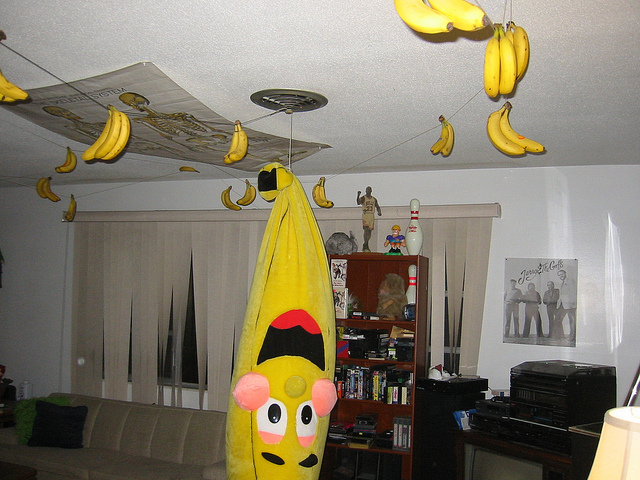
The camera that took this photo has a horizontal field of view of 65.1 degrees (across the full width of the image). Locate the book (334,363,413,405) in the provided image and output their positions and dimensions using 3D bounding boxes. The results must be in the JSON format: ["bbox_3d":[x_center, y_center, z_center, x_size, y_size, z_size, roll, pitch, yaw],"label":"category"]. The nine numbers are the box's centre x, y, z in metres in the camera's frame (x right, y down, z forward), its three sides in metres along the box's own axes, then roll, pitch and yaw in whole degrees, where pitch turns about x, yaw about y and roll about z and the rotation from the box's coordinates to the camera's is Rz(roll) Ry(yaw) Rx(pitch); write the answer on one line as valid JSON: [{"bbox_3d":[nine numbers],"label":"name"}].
[{"bbox_3d":[0.444,1.197,4.177,0.627,0.267,0.199,2,-5,13],"label":"book"}]

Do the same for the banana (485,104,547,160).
[{"bbox_3d":[0.857,-0.471,2.281,0.158,0.296,0.098,-31,-37,14],"label":"banana"}]

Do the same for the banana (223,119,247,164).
[{"bbox_3d":[-0.456,-0.519,2.734,0.128,0.267,0.117,9,15,13],"label":"banana"}]

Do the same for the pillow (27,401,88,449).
[{"bbox_3d":[-2.276,1.600,4.347,0.446,0.408,0.161,2,-14,3],"label":"pillow"}]

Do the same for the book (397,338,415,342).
[{"bbox_3d":[0.694,0.819,4.099,0.130,0.040,0.017,1,-5,19],"label":"book"}]

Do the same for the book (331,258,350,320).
[{"bbox_3d":[0.199,0.415,4.283,0.214,0.523,0.132,7,-6,-40],"label":"book"}]
